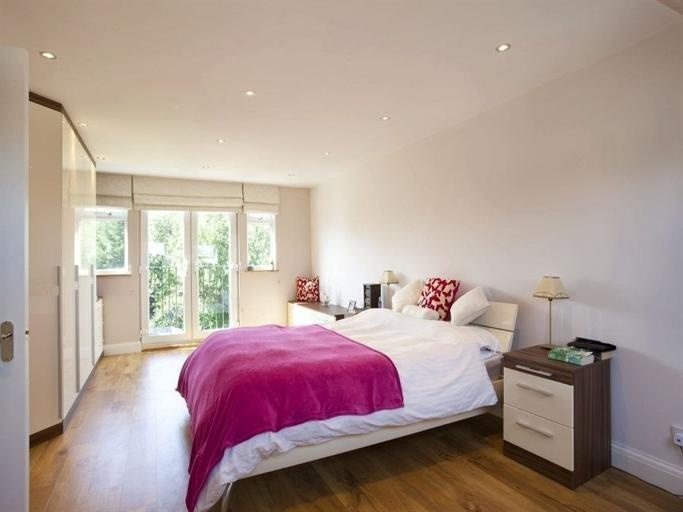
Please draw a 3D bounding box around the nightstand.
[{"bbox_3d":[1.704,1.233,3.858,0.608,0.860,0.617,-4,3,-36],"label":"nightstand"}]

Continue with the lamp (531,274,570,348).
[{"bbox_3d":[1.756,0.470,4.041,0.261,0.599,0.303,3,10,26],"label":"lamp"}]

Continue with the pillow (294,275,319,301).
[{"bbox_3d":[-0.573,0.551,7.867,0.363,0.368,0.135,-5,-12,33],"label":"pillow"}]

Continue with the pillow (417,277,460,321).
[{"bbox_3d":[1.015,0.454,4.937,0.130,0.405,0.411,21,-6,-29],"label":"pillow"}]

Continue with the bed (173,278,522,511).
[{"bbox_3d":[0.390,1.023,4.100,1.998,0.908,1.585,-2,-1,-24],"label":"bed"}]
